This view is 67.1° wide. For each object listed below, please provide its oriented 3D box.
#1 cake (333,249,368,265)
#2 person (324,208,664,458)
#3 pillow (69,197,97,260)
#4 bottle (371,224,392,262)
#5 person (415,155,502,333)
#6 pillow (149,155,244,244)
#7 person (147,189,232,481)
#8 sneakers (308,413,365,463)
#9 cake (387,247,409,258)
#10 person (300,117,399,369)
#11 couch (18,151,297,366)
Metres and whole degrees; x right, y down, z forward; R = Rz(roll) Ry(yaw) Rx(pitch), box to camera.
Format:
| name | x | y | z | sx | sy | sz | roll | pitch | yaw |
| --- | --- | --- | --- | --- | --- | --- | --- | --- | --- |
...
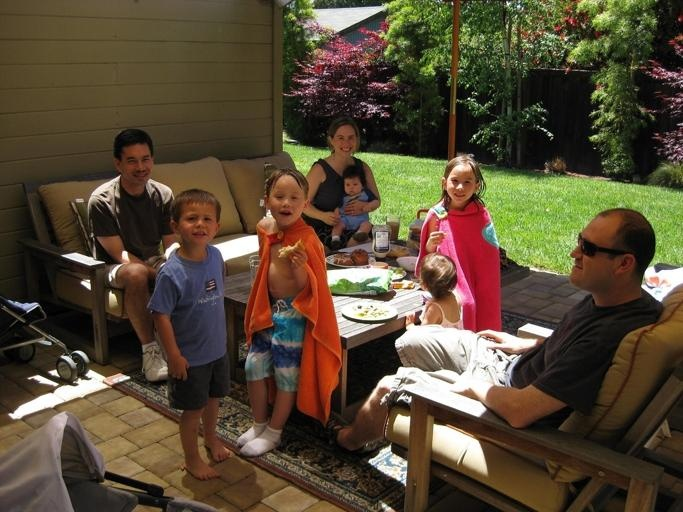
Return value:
| name | x | y | z | sx | sy | sz | roll | pitch | yaw |
| --- | --- | --- | --- | --- | --- | --- | --- | --- | --- |
| cake | 0.060 | 0.026 | 4.110 | 0.191 | 0.077 | 0.149 | 6 | 10 | 36 |
| person | 0.725 | 0.373 | 2.605 | 1.539 | 1.146 | 0.986 | 1 | 6 | 41 |
| pillow | -2.085 | -0.236 | 4.209 | 0.184 | 0.417 | 0.392 | -10 | 7 | -6 |
| bottle | 0.333 | -0.114 | 4.377 | 0.181 | 0.285 | 0.188 | 2 | 14 | 0 |
| person | 0.896 | -0.012 | 3.951 | 0.612 | 1.488 | 0.435 | 2 | 30 | 15 |
| pillow | -1.490 | -0.523 | 5.272 | 0.816 | 0.768 | 0.346 | -15 | 2 | -41 |
| person | -0.821 | 0.426 | 2.827 | 0.345 | 1.530 | 0.481 | 1 | 16 | 1 |
| sneakers | -0.067 | 1.063 | 3.150 | 0.148 | 0.189 | 0.433 | -14 | 16 | -34 |
| cake | 0.482 | -0.031 | 4.420 | 0.105 | 0.034 | 0.108 | 7 | 12 | 32 |
| person | 0.039 | -0.715 | 4.983 | 0.733 | 1.237 | 0.845 | -11 | 24 | -25 |
| couch | -1.455 | 0.055 | 3.712 | 0.708 | 0.698 | 1.627 | 11 | 20 | 34 |
